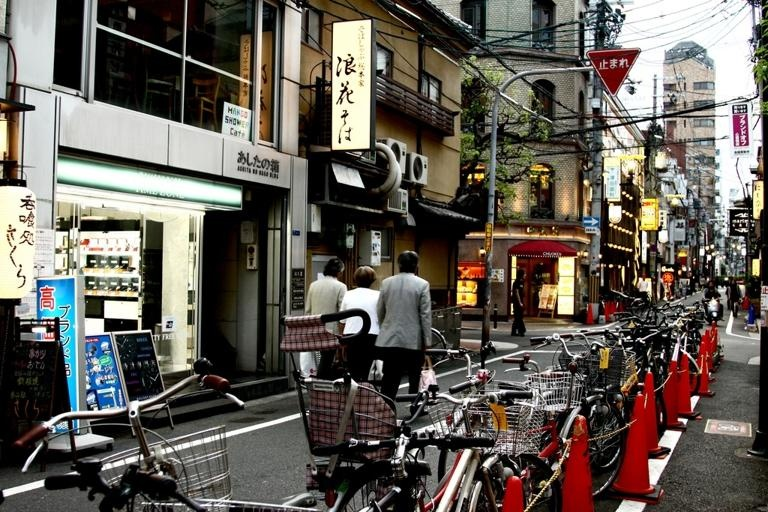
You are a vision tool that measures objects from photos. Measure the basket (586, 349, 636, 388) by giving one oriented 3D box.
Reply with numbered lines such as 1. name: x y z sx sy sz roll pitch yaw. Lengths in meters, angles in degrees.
1. basket: 3.235 1.552 11.684 0.513 0.274 0.721 1 -1 8

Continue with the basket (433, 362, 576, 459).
1. basket: 1.469 1.793 9.323 1.389 0.571 1.024 -3 2 -6

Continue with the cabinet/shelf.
1. cabinet/shelf: -5.091 0.564 15.423 1.312 2.486 0.831 2 3 7

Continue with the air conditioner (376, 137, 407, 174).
1. air conditioner: 0.417 -2.649 21.050 0.790 0.752 0.295 29 33 34
